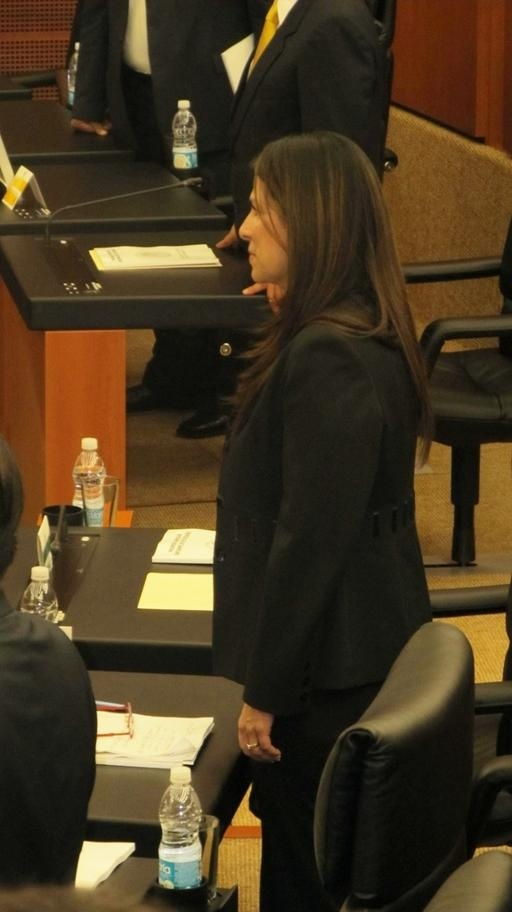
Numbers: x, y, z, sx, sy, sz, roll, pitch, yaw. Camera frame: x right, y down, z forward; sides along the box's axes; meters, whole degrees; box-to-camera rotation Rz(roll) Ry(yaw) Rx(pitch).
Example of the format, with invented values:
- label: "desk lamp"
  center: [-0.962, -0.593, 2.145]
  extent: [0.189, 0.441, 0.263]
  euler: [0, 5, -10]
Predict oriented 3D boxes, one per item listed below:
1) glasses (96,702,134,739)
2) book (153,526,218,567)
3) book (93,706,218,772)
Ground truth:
- label: "glasses"
  center: [-0.286, 0.533, 1.644]
  extent: [0.092, 0.044, 0.110]
  euler: [1, -1, -16]
- label: "book"
  center: [-0.205, 0.262, 2.313]
  extent: [0.150, 0.023, 0.166]
  euler: [2, 23, 8]
- label: "book"
  center: [-0.221, 0.549, 1.598]
  extent: [0.244, 0.056, 0.153]
  euler: [-1, 11, 11]
